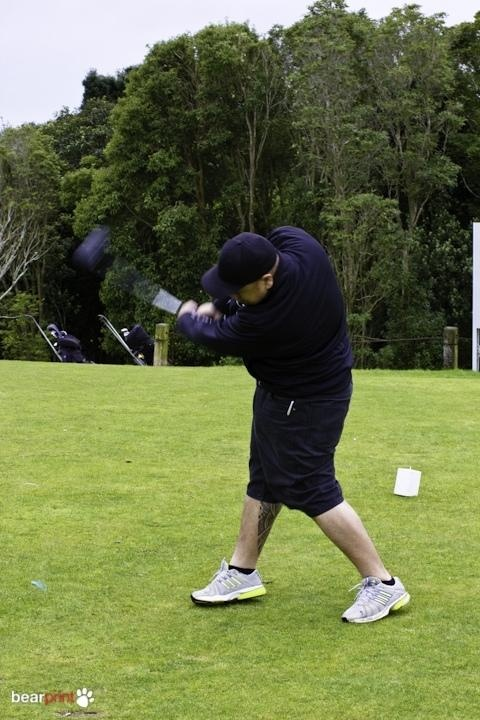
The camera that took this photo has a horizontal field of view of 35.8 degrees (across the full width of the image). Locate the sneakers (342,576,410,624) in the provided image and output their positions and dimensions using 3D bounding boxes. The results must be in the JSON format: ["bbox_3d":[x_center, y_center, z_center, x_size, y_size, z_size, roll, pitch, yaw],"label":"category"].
[{"bbox_3d":[0.521,0.912,2.884,0.317,0.146,0.115,-10,-1,-38],"label":"sneakers"}]

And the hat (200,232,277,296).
[{"bbox_3d":[-0.018,-0.333,2.611,0.277,0.231,0.198,3,7,11],"label":"hat"}]

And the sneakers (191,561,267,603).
[{"bbox_3d":[-0.039,0.903,3.034,0.318,0.163,0.114,-1,-22,-24],"label":"sneakers"}]

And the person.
[{"bbox_3d":[0.179,0.240,2.918,0.849,1.514,0.571,0,7,-15],"label":"person"}]
